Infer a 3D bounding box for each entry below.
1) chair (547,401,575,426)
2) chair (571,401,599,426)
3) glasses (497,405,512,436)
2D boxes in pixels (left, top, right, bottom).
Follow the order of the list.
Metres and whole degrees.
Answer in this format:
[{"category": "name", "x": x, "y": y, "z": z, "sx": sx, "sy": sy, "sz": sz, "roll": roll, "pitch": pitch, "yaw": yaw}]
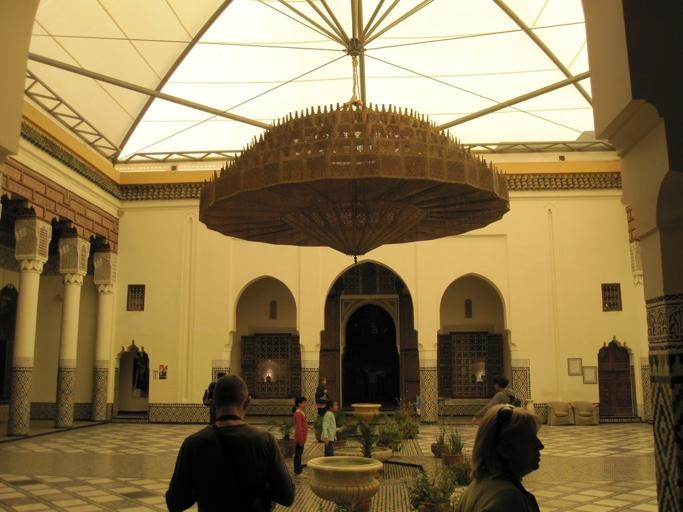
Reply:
[{"category": "chair", "x": 4.589, "y": 3.290, "z": 13.006, "sx": 0.473, "sy": 0.510, "sz": 0.425, "roll": 1, "pitch": -20, "yaw": 5}, {"category": "chair", "x": 5.091, "y": 3.304, "z": 13.065, "sx": 0.458, "sy": 0.502, "sz": 0.434, "roll": 1, "pitch": -21, "yaw": 5}, {"category": "glasses", "x": 0.756, "y": 0.754, "z": 2.883, "sx": 0.041, "sy": 0.108, "sz": 0.076, "roll": 4, "pitch": -11, "yaw": 18}]
